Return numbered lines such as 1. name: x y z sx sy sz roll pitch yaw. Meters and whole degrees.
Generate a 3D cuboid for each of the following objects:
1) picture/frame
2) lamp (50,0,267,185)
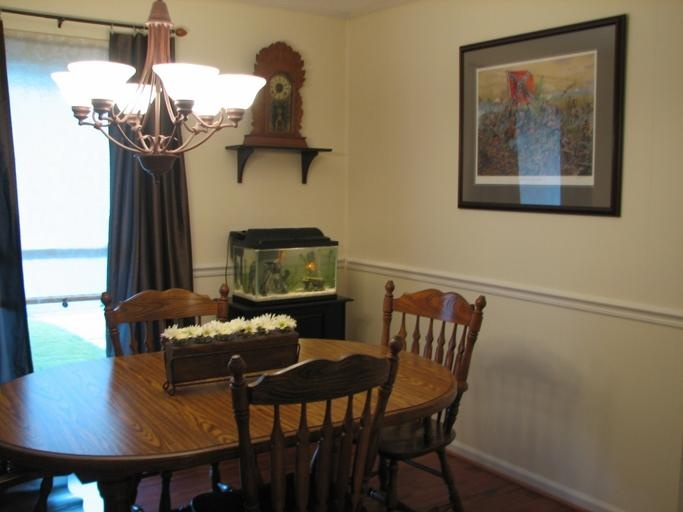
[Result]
1. picture/frame: 1.144 -0.788 3.111 0.091 1.291 1.214 -1 1 -40
2. lamp: -0.930 -0.896 2.964 1.032 0.867 1.858 -5 14 -24
